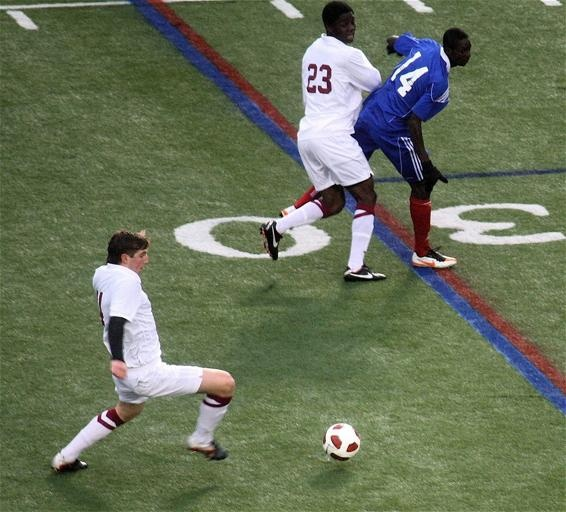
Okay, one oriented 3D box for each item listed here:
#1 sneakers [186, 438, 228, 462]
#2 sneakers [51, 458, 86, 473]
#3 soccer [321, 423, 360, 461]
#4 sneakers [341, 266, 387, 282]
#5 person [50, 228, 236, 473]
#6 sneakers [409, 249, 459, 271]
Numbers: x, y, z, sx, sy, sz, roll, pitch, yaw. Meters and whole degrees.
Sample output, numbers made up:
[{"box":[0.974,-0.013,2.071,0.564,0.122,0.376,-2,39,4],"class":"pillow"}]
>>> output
[{"box":[-0.526,1.405,8.646,0.308,0.105,0.129,15,21,-24],"class":"sneakers"},{"box":[-1.527,1.492,8.487,0.282,0.096,0.086,6,28,-26],"class":"sneakers"},{"box":[0.402,1.355,8.641,0.205,0.181,0.169,-32,43,4],"class":"soccer"},{"box":[0.704,0.170,10.683,0.429,0.131,0.133,0,97,-15],"class":"sneakers"},{"box":[-1.091,0.792,9.144,1.541,1.806,1.129,-13,36,-34],"class":"person"},{"box":[1.356,0.040,10.984,0.483,0.149,0.151,0,94,-4],"class":"sneakers"}]
